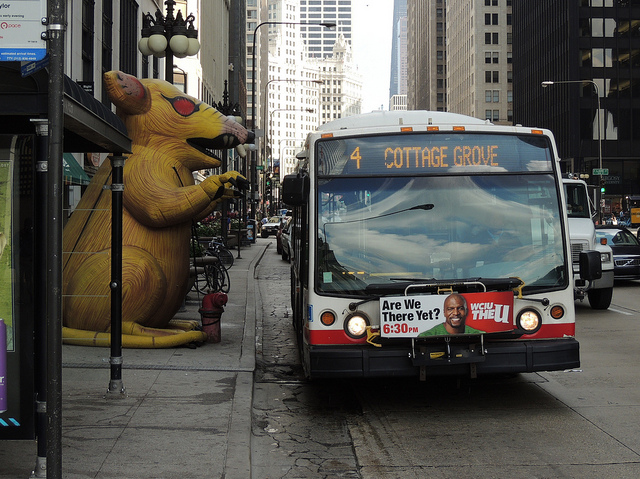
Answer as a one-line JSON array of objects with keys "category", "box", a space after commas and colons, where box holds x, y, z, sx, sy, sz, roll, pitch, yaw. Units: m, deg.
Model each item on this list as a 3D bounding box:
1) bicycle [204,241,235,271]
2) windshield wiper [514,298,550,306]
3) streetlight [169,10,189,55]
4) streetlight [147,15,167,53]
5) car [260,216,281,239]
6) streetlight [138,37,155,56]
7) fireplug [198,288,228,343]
[{"category": "bicycle", "box": [-2.507, 0.407, 22.182, 0.553, 0.675, 1.129, -5, 18, 20]}, {"category": "windshield wiper", "box": [2.385, 0.675, 9.555, 0.317, 0.099, 0.100, 4, -1, 0]}, {"category": "streetlight", "box": [-2.730, -4.041, 16.609, 0.422, 0.844, 0.406, 2, 18, -8]}, {"category": "streetlight", "box": [-3.114, -3.911, 16.507, 0.495, 0.659, 0.492, -3, -3, -2]}, {"category": "car", "box": [-3.263, -0.926, 59.429, 1.322, 1.101, 2.817, 0, -1, 5]}, {"category": "streetlight", "box": [-3.340, -3.771, 16.750, 0.328, 0.381, 0.338, 1, 0, 39]}, {"category": "fireplug", "box": [-1.666, 1.151, 13.041, 0.469, 0.792, 0.501, -1, 7, -34]}]
